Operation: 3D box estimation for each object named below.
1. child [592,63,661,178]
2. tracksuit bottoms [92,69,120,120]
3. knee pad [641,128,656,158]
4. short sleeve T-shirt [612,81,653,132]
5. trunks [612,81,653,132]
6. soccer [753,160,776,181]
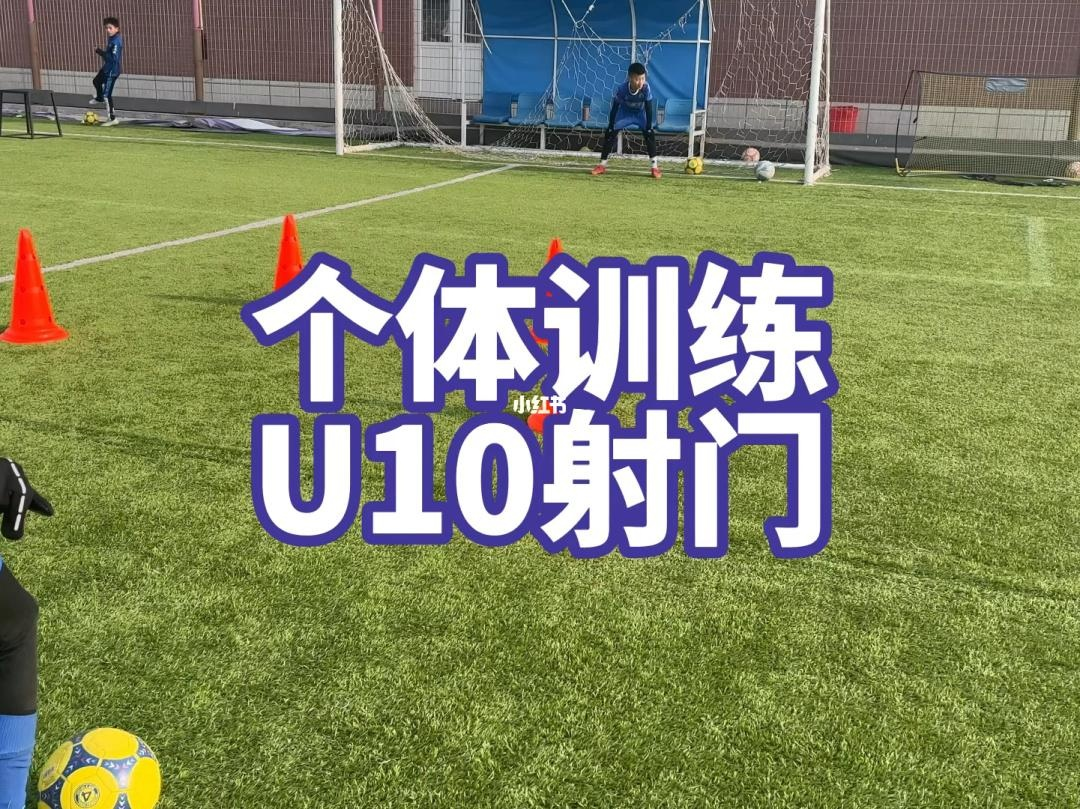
[{"bbox_3d":[1.243,-3.824,13.318,0.826,1.452,0.713,12,30,22],"label":"child"},{"bbox_3d":[-8.005,-5.729,18.554,0.413,0.640,1.277,-15,2,-32],"label":"tracksuit bottoms"},{"bbox_3d":[1.438,-3.497,13.338,0.169,0.377,0.498,3,17,5],"label":"knee pad"},{"bbox_3d":[1.200,-3.972,13.325,0.558,0.611,0.720,3,17,4],"label":"short sleeve T-shirt"},{"bbox_3d":[1.199,-3.972,13.323,0.558,0.611,0.717,3,17,4],"label":"trunks"},{"bbox_3d":[2.882,-2.995,12.861,0.268,0.340,0.266,-4,12,-28],"label":"soccer"}]
